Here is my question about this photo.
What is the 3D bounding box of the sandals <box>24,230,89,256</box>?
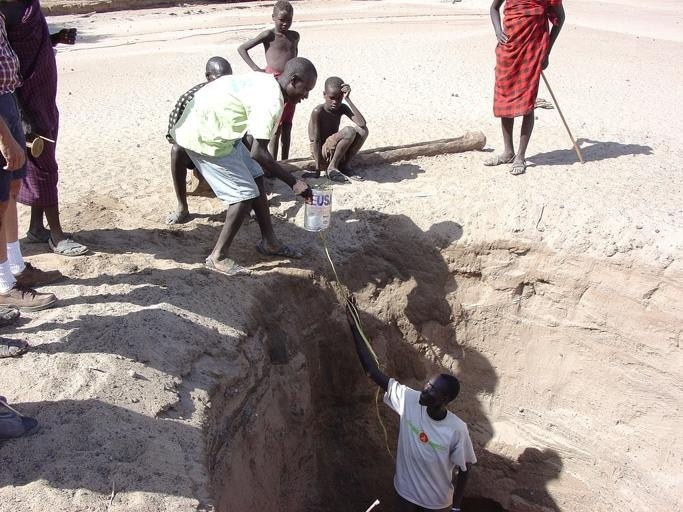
[{"bbox_3d":[-2.461,-0.118,4.786,0.633,0.154,0.243,11,17,19],"label":"sandals"}]

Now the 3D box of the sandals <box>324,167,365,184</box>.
[{"bbox_3d":[0.053,-0.935,6.494,0.446,0.107,0.162,13,58,6],"label":"sandals"}]

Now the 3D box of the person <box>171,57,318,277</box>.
[{"bbox_3d":[-0.766,-0.700,4.828,1.161,1.796,0.709,-13,35,-12],"label":"person"}]

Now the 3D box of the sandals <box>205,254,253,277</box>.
[{"bbox_3d":[-1.008,0.081,4.922,0.334,0.111,0.180,7,11,-11],"label":"sandals"}]

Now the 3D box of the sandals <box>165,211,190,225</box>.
[{"bbox_3d":[-1.689,-0.389,5.761,0.123,0.079,0.213,18,21,29],"label":"sandals"}]

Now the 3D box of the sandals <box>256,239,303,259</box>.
[{"bbox_3d":[-0.567,-0.045,5.329,0.464,0.132,0.163,4,40,-22],"label":"sandals"}]
